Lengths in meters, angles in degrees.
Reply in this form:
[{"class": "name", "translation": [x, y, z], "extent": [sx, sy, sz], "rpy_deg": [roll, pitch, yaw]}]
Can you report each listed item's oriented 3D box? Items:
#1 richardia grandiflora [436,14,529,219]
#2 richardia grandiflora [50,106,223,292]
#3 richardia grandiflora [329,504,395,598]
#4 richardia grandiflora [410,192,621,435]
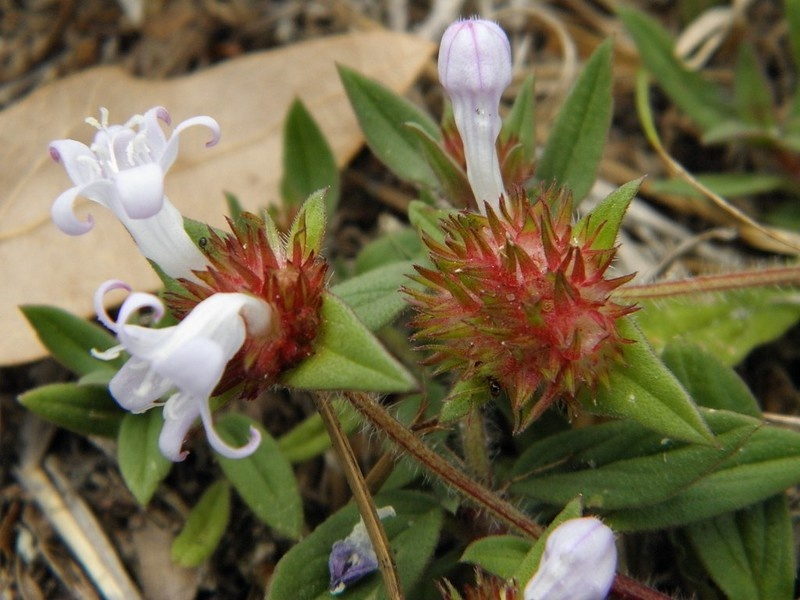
[{"class": "richardia grandiflora", "translation": [0.331, -0.721, 3.987], "extent": [0.288, 0.720, 0.527], "rpy_deg": [-5, 43, 15]}, {"class": "richardia grandiflora", "translation": [-1.179, -0.407, 4.271], "extent": [0.542, 0.807, 0.515], "rpy_deg": [-47, 41, -10]}, {"class": "richardia grandiflora", "translation": [-0.228, 1.097, 4.066], "extent": [0.254, 0.155, 0.183], "rpy_deg": [-32, 43, -10]}, {"class": "richardia grandiflora", "translation": [0.488, 0.039, 3.859], "extent": [0.875, 0.690, 0.725], "rpy_deg": [-8, 44, 15]}]
